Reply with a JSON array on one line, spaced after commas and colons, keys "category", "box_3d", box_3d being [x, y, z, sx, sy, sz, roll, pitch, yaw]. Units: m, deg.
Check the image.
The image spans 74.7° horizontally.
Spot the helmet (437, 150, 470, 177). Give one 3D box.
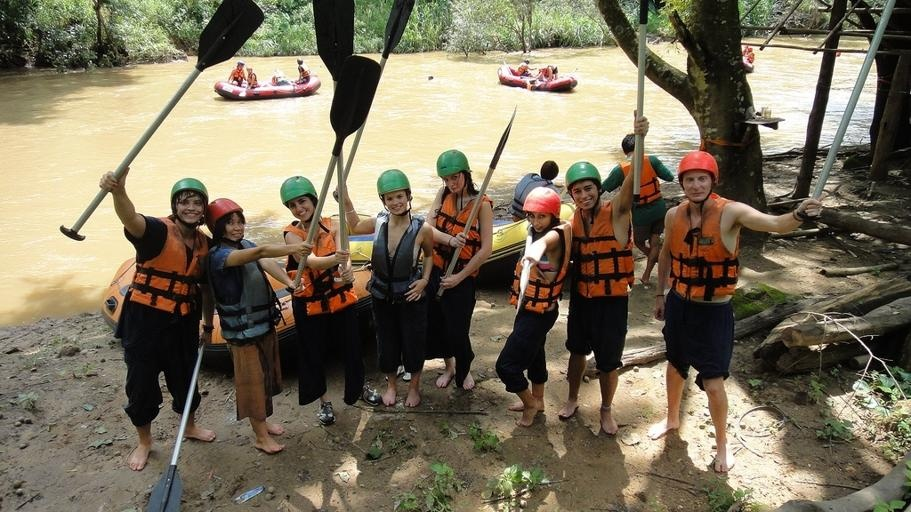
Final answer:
[{"category": "helmet", "box_3d": [-0.007, -1.147, 7.289, 0.296, 0.241, 0.393, -9, 12, 28]}]

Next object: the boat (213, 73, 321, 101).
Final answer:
[{"category": "boat", "box_3d": [-7.343, -6.547, 23.422, 2.937, 0.691, 1.609, -7, 18, -22]}]

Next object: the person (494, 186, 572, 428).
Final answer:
[{"category": "person", "box_3d": [0.909, 0.638, 6.853, 0.526, 2.707, 1.028, 11, 27, 23]}]

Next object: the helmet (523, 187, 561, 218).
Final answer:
[{"category": "helmet", "box_3d": [0.941, -0.634, 6.706, 0.310, 0.280, 0.406, 10, -15, 39]}]

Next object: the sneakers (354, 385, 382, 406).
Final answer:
[{"category": "sneakers", "box_3d": [-1.138, 1.746, 7.465, 0.445, 0.166, 0.159, 4, 19, 18]}]

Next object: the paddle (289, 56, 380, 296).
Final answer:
[{"category": "paddle", "box_3d": [-1.520, -0.962, 7.273, 0.473, 3.154, 0.140, -10, 56, -33]}]

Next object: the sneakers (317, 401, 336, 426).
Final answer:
[{"category": "sneakers", "box_3d": [-1.542, 1.886, 7.107, 0.162, 0.134, 0.333, -2, 5, -18]}]

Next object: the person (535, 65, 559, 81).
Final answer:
[{"category": "person", "box_3d": [3.737, -7.380, 24.189, 0.730, 0.355, 0.813, -3, 31, 8]}]

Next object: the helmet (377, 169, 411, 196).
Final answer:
[{"category": "helmet", "box_3d": [-0.742, -0.877, 7.025, 0.289, 0.259, 0.354, -9, 7, -1]}]

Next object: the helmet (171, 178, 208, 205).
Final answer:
[{"category": "helmet", "box_3d": [-2.957, -0.745, 6.623, 0.400, 0.267, 0.374, 0, -2, -13]}]

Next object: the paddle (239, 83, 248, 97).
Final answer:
[{"category": "paddle", "box_3d": [-8.128, -6.396, 22.986, 0.447, 0.549, 0.207, 4, -10, 2]}]

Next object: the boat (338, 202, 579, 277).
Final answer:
[{"category": "boat", "box_3d": [-0.144, -0.213, 9.399, 2.672, 0.793, 1.517, -5, 9, -21]}]

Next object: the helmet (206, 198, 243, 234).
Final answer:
[{"category": "helmet", "box_3d": [-2.634, -0.456, 6.709, 0.465, 0.333, 0.312, 5, -3, -14]}]

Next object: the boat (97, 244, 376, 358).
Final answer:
[{"category": "boat", "box_3d": [-2.701, 0.663, 8.066, 3.319, 0.591, 1.857, -5, 20, -40]}]

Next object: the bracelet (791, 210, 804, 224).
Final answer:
[{"category": "bracelet", "box_3d": [3.447, -0.396, 5.970, 0.098, 0.115, 0.063, 3, -19, -27]}]

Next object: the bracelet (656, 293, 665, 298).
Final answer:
[{"category": "bracelet", "box_3d": [2.396, 0.463, 6.937, 0.042, 0.052, 0.053, -11, 36, -4]}]

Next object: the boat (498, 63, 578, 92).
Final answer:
[{"category": "boat", "box_3d": [3.194, -7.246, 24.401, 2.758, 0.772, 1.632, 12, 21, 33]}]
